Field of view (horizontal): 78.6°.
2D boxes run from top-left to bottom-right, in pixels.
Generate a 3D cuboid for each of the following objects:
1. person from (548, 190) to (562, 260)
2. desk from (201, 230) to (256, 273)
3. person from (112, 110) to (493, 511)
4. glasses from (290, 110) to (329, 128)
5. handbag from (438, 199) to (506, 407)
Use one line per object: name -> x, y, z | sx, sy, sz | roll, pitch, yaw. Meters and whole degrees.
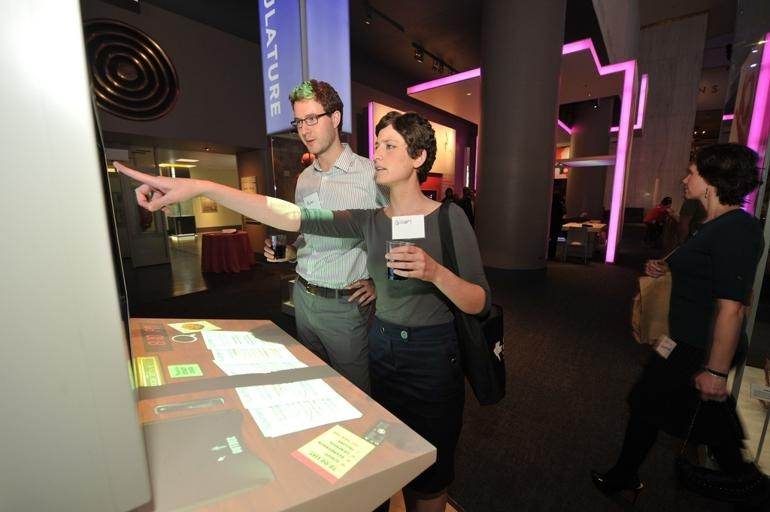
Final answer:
person -> 2.929, -0.525, 8.072 | 0.205, 1.213, 0.458 | 3, 12, 21
desk -> -2.665, -0.055, 7.776 | 0.728, 0.511, 0.714 | -2, 3, -24
person -> -0.072, 0.382, 2.396 | 1.307, 2.184, 0.458 | 2, 12, 17
glasses -> -0.437, -0.798, 2.655 | 0.120, 0.032, 0.120 | -14, 11, 32
handbag -> 0.438, 0.256, 2.256 | 0.358, 1.022, 0.336 | -1, 11, 2
